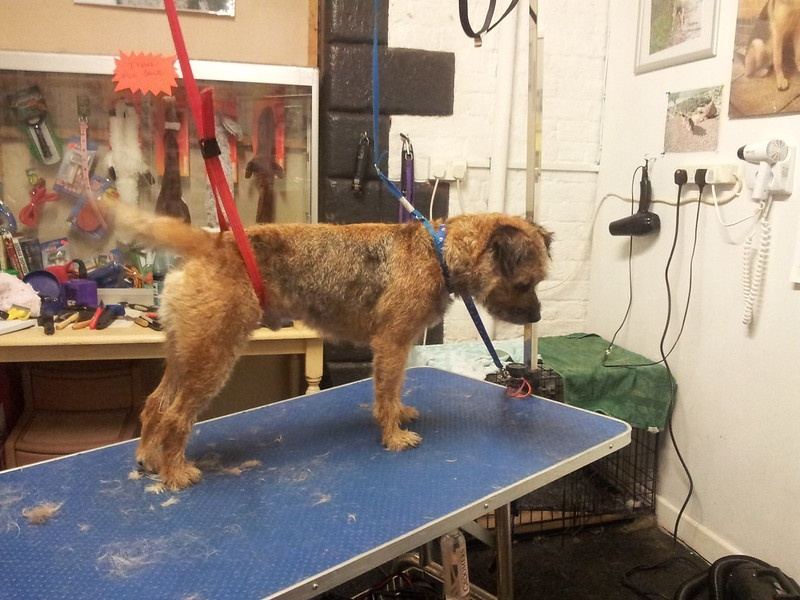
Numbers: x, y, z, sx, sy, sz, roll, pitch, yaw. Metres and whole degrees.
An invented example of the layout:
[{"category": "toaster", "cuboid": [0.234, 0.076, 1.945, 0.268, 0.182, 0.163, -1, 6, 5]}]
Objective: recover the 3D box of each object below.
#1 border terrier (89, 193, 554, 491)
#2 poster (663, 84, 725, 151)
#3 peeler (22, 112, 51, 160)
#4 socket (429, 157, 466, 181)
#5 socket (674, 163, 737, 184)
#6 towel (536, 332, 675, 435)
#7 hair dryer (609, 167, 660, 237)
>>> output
[{"category": "border terrier", "cuboid": [-0.180, 0.133, 2.405, 1.476, 0.879, 0.494, -1, 9, -17]}, {"category": "poster", "cuboid": [1.345, -0.834, 3.148, 0.004, 0.289, 0.282, -11, 15, -31]}, {"category": "peeler", "cuboid": [-1.762, -0.797, 3.331, 0.110, 0.198, 0.074, -12, 13, -13]}, {"category": "socket", "cuboid": [0.248, -0.676, 3.508, 0.200, 0.125, 0.103, -1, 10, -14]}, {"category": "socket", "cuboid": [1.382, -0.570, 3.073, 0.068, 0.104, 0.300, -8, 18, -22]}, {"category": "towel", "cuboid": [0.988, 0.378, 3.524, 0.602, 0.425, 0.549, 2, 12, -5]}, {"category": "hair dryer", "cuboid": [1.166, -0.468, 3.354, 0.144, 0.360, 0.182, -9, 21, -38]}]
